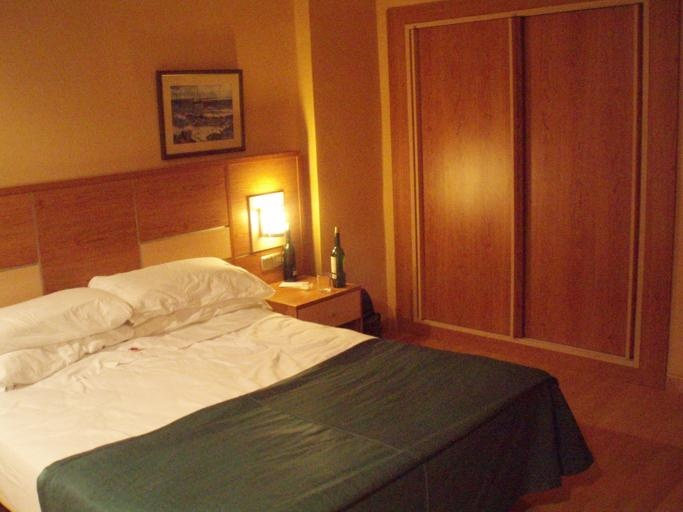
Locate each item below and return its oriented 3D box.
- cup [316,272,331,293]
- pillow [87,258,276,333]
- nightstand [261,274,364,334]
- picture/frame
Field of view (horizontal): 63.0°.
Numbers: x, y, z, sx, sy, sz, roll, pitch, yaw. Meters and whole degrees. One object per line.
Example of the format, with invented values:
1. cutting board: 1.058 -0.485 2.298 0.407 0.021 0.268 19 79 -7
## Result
1. cup: -0.123 0.200 4.059 0.096 0.120 0.125 -4 0 -4
2. pillow: -0.941 0.206 3.428 0.618 0.194 0.532 -14 24 -41
3. nightstand: -0.199 0.334 4.082 0.411 0.518 0.532 7 14 35
4. picture/frame: -0.994 -0.985 3.813 0.577 0.527 0.040 -20 25 -36
